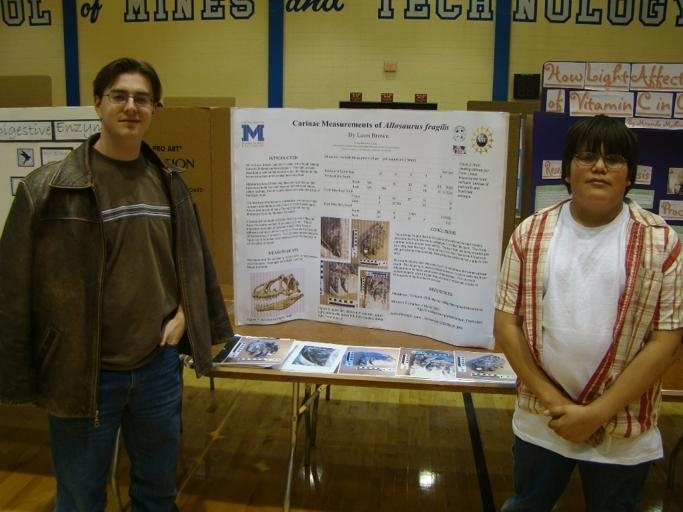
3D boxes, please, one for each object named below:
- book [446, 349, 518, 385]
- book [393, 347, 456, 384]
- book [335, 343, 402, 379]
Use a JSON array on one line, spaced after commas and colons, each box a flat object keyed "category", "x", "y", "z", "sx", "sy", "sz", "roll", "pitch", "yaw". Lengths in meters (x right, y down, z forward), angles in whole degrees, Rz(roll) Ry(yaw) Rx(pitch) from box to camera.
[{"category": "book", "x": 0.624, "y": 0.497, "z": 2.415, "sx": 0.175, "sy": 0.023, "sz": 0.213, "roll": 0, "pitch": 22, "yaw": 3}, {"category": "book", "x": 0.392, "y": 0.492, "z": 2.499, "sx": 0.261, "sy": 0.028, "sz": 0.262, "roll": 0, "pitch": 17, "yaw": 8}, {"category": "book", "x": 0.128, "y": 0.483, "z": 2.521, "sx": 0.269, "sy": 0.026, "sz": 0.239, "roll": 0, "pitch": 17, "yaw": 8}]
